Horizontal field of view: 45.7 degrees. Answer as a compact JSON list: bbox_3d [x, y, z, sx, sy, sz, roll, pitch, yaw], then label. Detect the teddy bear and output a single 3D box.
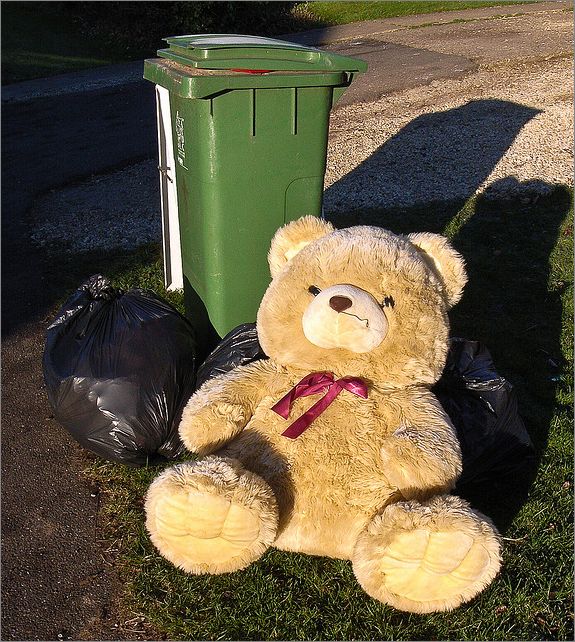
[{"bbox_3d":[0.237,0.278,2.466,1.377,1.127,1.072,3,23,35],"label":"teddy bear"}]
